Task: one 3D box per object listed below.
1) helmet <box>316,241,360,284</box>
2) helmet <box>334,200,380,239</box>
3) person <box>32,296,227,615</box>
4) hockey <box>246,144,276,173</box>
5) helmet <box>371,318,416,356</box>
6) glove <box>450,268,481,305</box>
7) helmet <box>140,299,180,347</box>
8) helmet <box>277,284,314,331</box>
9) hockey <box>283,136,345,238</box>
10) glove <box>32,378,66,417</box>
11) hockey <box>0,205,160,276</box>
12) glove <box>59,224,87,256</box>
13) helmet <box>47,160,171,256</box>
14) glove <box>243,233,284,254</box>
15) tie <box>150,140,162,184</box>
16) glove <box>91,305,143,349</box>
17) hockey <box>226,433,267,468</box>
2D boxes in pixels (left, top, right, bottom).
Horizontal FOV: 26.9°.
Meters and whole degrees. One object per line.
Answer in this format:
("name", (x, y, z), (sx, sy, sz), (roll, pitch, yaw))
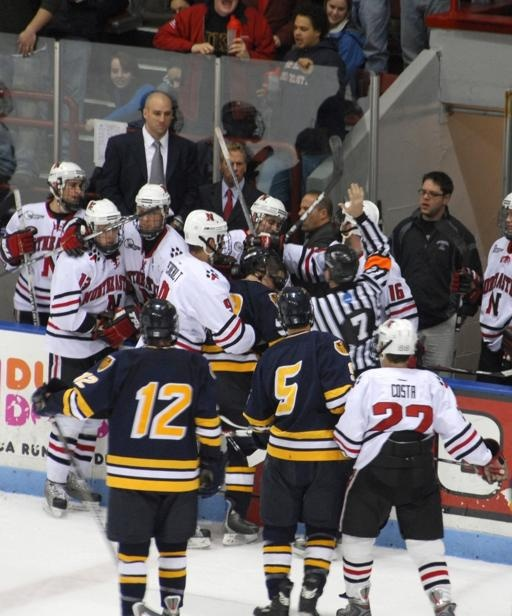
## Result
("helmet", (0.372, -0.176, 4.826), (0.158, 0.209, 0.199), (-9, 29, -27))
("helmet", (0.541, -0.464, 5.536), (0.197, 0.197, 0.321), (4, 4, 4))
("person", (-0.441, 0.558, 4.116), (0.620, 1.184, 0.349), (4, 4, -4))
("hockey", (0.030, -0.881, 6.284), (0.162, 0.159, 0.049), (-1, -4, 2))
("helmet", (0.549, 0.119, 4.228), (0.125, 0.139, 0.160), (6, 21, -1))
("glove", (1.166, -0.131, 5.935), (0.154, 0.200, 0.099), (-4, 21, -4))
("helmet", (-0.371, 0.065, 4.178), (0.180, 0.218, 0.238), (0, 10, 3))
("helmet", (0.164, 0.008, 4.365), (0.158, 0.199, 0.206), (-6, 12, 6))
("hockey", (0.340, -0.695, 6.049), (0.296, 0.626, 0.559), (4, 4, 4))
("glove", (-0.840, 0.355, 4.279), (0.102, 0.084, 0.230), (-17, -4, -15))
("hockey", (-0.904, -0.352, 5.559), (0.761, 0.085, 0.039), (-31, 10, -14))
("glove", (-0.920, -0.337, 5.347), (0.150, 0.199, 0.054), (-6, 7, -8))
("helmet", (-0.754, -0.415, 5.319), (0.577, 0.228, 0.282), (11, 46, 14))
("glove", (0.046, -0.339, 5.419), (0.173, 0.066, 0.129), (-3, 12, -30))
("tie", (-0.565, -0.825, 6.077), (0.082, 0.340, 0.038), (-6, 49, -8))
("glove", (-0.699, 0.111, 5.478), (0.275, 0.210, 0.119), (-17, -35, 21))
("hockey", (-0.057, 0.671, 5.064), (0.179, 0.169, 0.221), (0, -4, -13))
